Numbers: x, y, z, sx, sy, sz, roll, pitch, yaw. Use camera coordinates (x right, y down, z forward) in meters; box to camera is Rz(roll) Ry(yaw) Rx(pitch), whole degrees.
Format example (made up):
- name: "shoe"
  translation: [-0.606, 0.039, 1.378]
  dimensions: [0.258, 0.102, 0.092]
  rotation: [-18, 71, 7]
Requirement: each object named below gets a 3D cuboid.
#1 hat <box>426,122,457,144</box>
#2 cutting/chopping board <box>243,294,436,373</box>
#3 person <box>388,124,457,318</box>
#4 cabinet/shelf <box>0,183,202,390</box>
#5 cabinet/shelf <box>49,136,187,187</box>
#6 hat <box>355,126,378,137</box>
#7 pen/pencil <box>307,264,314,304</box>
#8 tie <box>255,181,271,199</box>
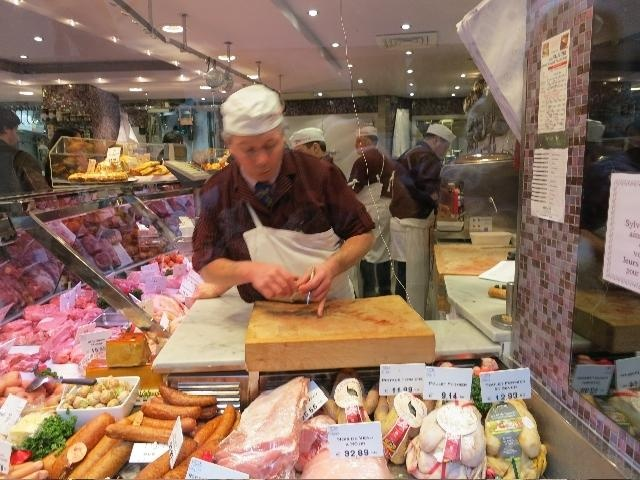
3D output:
- name: "hat"
  translation: [0.512, -0.442, 1.913]
  dimensions: [0.086, 0.045, 0.072]
  rotation: [13, 14, -3]
- name: "cutting/chopping board"
  translation: [0.063, 0.335, 1.693]
  dimensions: [0.639, 0.146, 0.326]
  rotation: [-4, 14, 0]
- name: "person"
  translation: [0.442, -0.068, 2.016]
  dimensions: [0.285, 0.833, 0.152]
  rotation: [-9, 14, -22]
- name: "cabinet/shelf"
  translation: [-1.028, 0.081, 2.142]
  dimensions: [0.633, 0.247, 0.981]
  rotation: [20, 12, -4]
- name: "cabinet/shelf"
  translation: [-1.257, -0.483, 2.843]
  dimensions: [0.800, 0.209, 0.121]
  rotation: [0, 21, -10]
- name: "hat"
  translation: [0.190, -0.424, 1.825]
  dimensions: [0.055, 0.037, 0.042]
  rotation: [-1, 12, 4]
- name: "pen/pencil"
  translation: [-0.040, 0.190, 1.777]
  dimensions: [0.018, 0.189, 0.019]
  rotation: [4, 7, -7]
- name: "tie"
  translation: [-0.219, -0.188, 1.777]
  dimensions: [0.050, 0.056, 0.014]
  rotation: [5, 17, -3]
